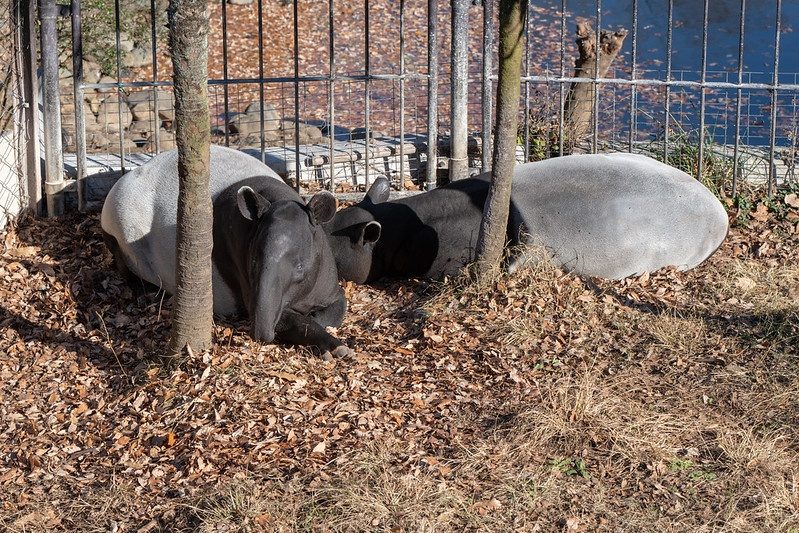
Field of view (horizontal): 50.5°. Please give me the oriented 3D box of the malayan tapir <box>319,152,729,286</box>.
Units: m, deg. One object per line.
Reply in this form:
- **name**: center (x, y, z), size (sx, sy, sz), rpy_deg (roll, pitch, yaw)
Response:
- **malayan tapir**: center (1.156, -0.365, 8.891), size (3.882, 1.358, 1.531), rpy_deg (0, 62, 2)

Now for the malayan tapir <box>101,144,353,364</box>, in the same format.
- **malayan tapir**: center (-1.622, -0.132, 7.997), size (1.546, 1.226, 2.585), rpy_deg (-14, 37, -38)
